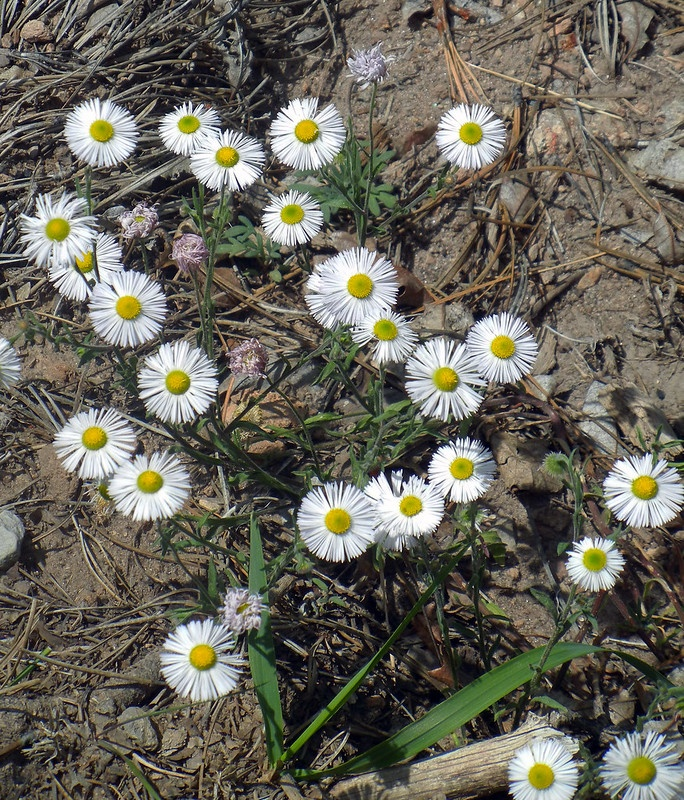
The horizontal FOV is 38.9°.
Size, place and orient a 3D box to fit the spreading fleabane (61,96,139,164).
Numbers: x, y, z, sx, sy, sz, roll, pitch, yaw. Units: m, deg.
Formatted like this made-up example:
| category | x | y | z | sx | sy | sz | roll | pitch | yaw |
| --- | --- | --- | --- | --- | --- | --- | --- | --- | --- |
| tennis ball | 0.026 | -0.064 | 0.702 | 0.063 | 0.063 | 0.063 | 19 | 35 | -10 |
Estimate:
| category | x | y | z | sx | sy | sz | roll | pitch | yaw |
| --- | --- | --- | --- | --- | --- | --- | --- | --- | --- |
| spreading fleabane | -0.960 | -1.074 | 3.862 | 0.256 | 0.126 | 0.288 | -25 | 68 | -2 |

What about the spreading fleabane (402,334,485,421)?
| category | x | y | z | sx | sy | sz | roll | pitch | yaw |
| --- | --- | --- | --- | --- | --- | --- | --- | --- | --- |
| spreading fleabane | 0.389 | -0.084 | 3.683 | 0.410 | 0.089 | 0.359 | -3 | 87 | 2 |

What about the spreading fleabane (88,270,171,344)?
| category | x | y | z | sx | sy | sz | roll | pitch | yaw |
| --- | --- | --- | --- | --- | --- | --- | --- | --- | --- |
| spreading fleabane | -0.794 | -0.326 | 3.608 | 0.279 | 0.174 | 0.287 | 1 | 70 | 8 |

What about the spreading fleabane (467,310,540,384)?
| category | x | y | z | sx | sy | sz | roll | pitch | yaw |
| --- | --- | --- | --- | --- | --- | --- | --- | --- | --- |
| spreading fleabane | 0.633 | -0.224 | 3.754 | 0.241 | 0.241 | 0.078 | 43 | 43 | -6 |

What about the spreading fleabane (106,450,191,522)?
| category | x | y | z | sx | sy | sz | roll | pitch | yaw |
| --- | --- | --- | --- | --- | --- | --- | --- | --- | --- |
| spreading fleabane | -0.675 | 0.313 | 3.451 | 0.263 | 0.135 | 0.254 | -35 | 69 | -6 |

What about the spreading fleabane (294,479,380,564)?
| category | x | y | z | sx | sy | sz | roll | pitch | yaw |
| --- | --- | --- | --- | --- | --- | --- | --- | --- | --- |
| spreading fleabane | -0.010 | 0.448 | 3.536 | 0.316 | 0.066 | 0.281 | 18 | 85 | 28 |

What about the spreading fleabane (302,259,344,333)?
| category | x | y | z | sx | sy | sz | roll | pitch | yaw |
| --- | --- | --- | --- | --- | --- | --- | --- | --- | --- |
| spreading fleabane | -0.087 | -0.414 | 3.917 | 0.072 | 0.269 | 0.275 | 15 | 92 | -9 |

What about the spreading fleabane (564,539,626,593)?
| category | x | y | z | sx | sy | sz | roll | pitch | yaw |
| --- | --- | --- | --- | --- | --- | --- | --- | --- | --- |
| spreading fleabane | 0.956 | 0.629 | 3.668 | 0.202 | 0.227 | 0.195 | -12 | 69 | 4 |

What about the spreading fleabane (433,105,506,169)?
| category | x | y | z | sx | sy | sz | roll | pitch | yaw |
| --- | --- | --- | --- | --- | --- | --- | --- | --- | --- |
| spreading fleabane | 0.536 | -1.125 | 4.055 | 0.270 | 0.136 | 0.296 | -12 | 68 | 3 |

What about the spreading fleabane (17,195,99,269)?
| category | x | y | z | sx | sy | sz | roll | pitch | yaw |
| --- | --- | --- | --- | --- | --- | --- | --- | --- | --- |
| spreading fleabane | -1.032 | -0.663 | 3.551 | 0.273 | 0.259 | 0.095 | 7 | 68 | -34 |

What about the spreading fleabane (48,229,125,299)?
| category | x | y | z | sx | sy | sz | roll | pitch | yaw |
| --- | --- | --- | --- | --- | --- | --- | --- | --- | --- |
| spreading fleabane | -0.967 | -0.563 | 3.734 | 0.247 | 0.233 | 0.080 | 45 | 106 | 7 |

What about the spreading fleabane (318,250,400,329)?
| category | x | y | z | sx | sy | sz | roll | pitch | yaw |
| --- | --- | --- | --- | --- | --- | --- | --- | --- | --- |
| spreading fleabane | 0.076 | -0.439 | 3.688 | 0.329 | 0.069 | 0.294 | 12 | 116 | 25 |
